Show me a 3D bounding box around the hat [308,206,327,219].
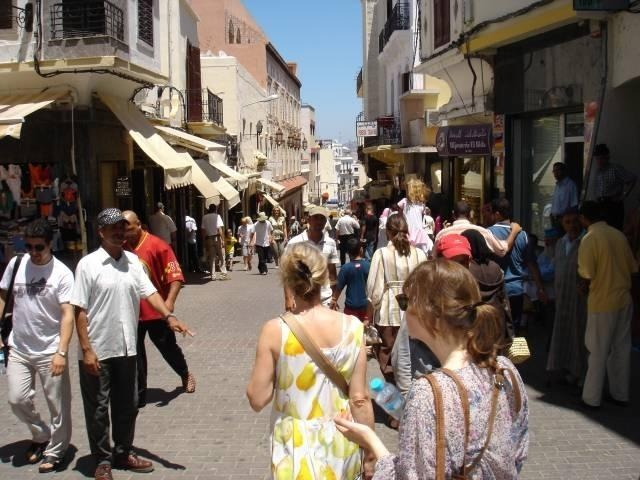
[{"bbox_3d":[-0.011,-0.342,7.592,0.191,0.142,0.354,3,8,32],"label":"hat"}]

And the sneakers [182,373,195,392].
[{"bbox_3d":[-1.588,1.742,7.682,0.124,0.243,0.074,-4,-25,-10],"label":"sneakers"}]

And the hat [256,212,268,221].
[{"bbox_3d":[-1.648,-0.703,18.868,0.364,0.229,0.362,-1,4,-25],"label":"hat"}]

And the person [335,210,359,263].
[{"bbox_3d":[0.755,-0.192,18.076,0.601,1.664,0.435,3,33,5],"label":"person"}]

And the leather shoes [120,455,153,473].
[{"bbox_3d":[-1.697,2.035,5.896,0.289,0.149,0.145,3,4,2],"label":"leather shoes"}]

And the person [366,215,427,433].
[{"bbox_3d":[0.830,0.718,6.938,0.608,2.059,0.524,-3,13,-10],"label":"person"}]

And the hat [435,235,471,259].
[{"bbox_3d":[1.215,0.052,5.907,0.226,0.204,0.338,2,-4,-1],"label":"hat"}]

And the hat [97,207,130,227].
[{"bbox_3d":[-1.890,-0.193,5.682,0.209,0.125,0.159,-19,-6,31],"label":"hat"}]

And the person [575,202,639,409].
[{"bbox_3d":[3.153,0.707,7.037,0.603,2.265,0.401,0,6,12],"label":"person"}]

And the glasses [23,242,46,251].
[{"bbox_3d":[-2.642,0.062,5.852,0.189,0.086,0.059,0,7,8],"label":"glasses"}]

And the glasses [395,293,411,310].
[{"bbox_3d":[0.452,0.332,3.497,0.027,0.088,0.091,-8,35,-17],"label":"glasses"}]

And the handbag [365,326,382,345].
[{"bbox_3d":[0.549,0.978,6.622,0.188,0.136,0.285,0,4,-1],"label":"handbag"}]

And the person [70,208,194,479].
[{"bbox_3d":[-1.809,0.925,5.717,0.758,2.411,0.415,-5,8,-36],"label":"person"}]

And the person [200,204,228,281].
[{"bbox_3d":[-3.073,0.017,18.354,0.674,2.127,1.591,-2,7,-9],"label":"person"}]
